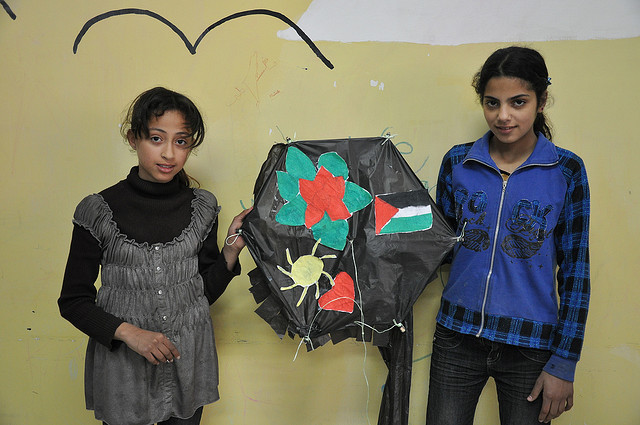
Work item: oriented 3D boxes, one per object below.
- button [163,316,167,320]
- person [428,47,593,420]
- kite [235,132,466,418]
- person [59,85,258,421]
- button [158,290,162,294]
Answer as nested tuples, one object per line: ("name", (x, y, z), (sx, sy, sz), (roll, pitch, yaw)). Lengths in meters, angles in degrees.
("button", (-0.640, 0.436, 2.237), (0.015, 0.013, 0.002), (1, -1, -20))
("person", (0.784, 0.108, 2.322), (0.621, 1.572, 0.285), (0, -1, -1))
("kite", (0.162, 0.224, 2.401), (1.049, 1.292, 0.375), (2, -5, 2))
("person", (-0.683, 0.186, 2.266), (0.731, 1.417, 0.317), (1, -1, -27))
("button", (-0.659, 0.329, 2.233), (0.013, 0.014, 0.003), (6, -5, -4))
